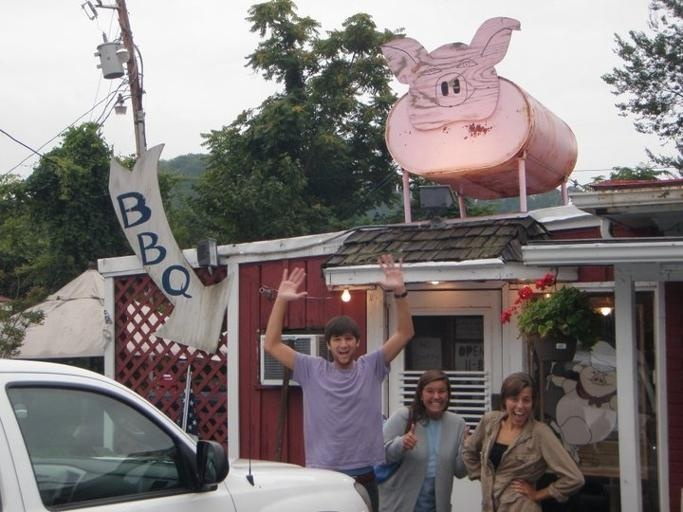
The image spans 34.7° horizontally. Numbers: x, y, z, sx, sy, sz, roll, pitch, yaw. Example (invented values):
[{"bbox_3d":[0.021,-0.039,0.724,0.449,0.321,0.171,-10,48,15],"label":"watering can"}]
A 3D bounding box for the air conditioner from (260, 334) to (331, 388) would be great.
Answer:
[{"bbox_3d":[-0.575,1.285,13.577,0.744,0.675,0.653,-2,-2,19],"label":"air conditioner"}]

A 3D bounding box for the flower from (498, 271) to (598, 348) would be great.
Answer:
[{"bbox_3d":[2.255,0.596,11.855,1.007,0.801,0.572,-7,-12,37],"label":"flower"}]
